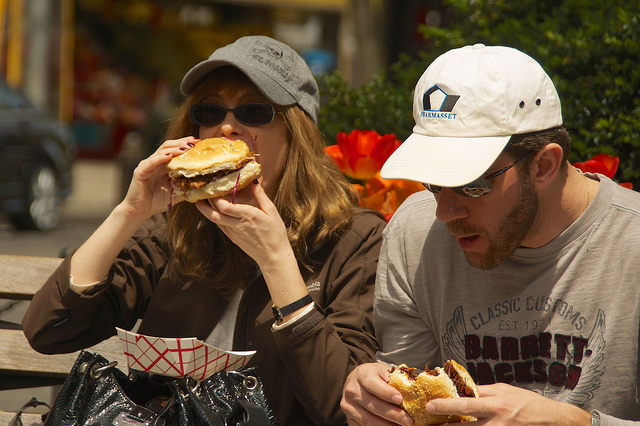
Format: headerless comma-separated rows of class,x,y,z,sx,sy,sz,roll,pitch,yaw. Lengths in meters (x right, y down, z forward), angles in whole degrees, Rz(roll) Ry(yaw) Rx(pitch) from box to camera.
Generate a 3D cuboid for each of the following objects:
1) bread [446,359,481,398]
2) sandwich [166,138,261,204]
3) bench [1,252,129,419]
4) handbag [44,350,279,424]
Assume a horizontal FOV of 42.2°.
bread,0.862,0.990,4.929,0.141,0.177,0.212,2,7,-36
sandwich,-0.740,-0.238,5.699,0.464,0.270,0.485,-14,15,45
bench,-1.773,0.845,5.843,1.083,0.841,0.412,0,-2,-11
handbag,-1.017,1.187,5.319,1.418,0.512,0.327,8,6,11
